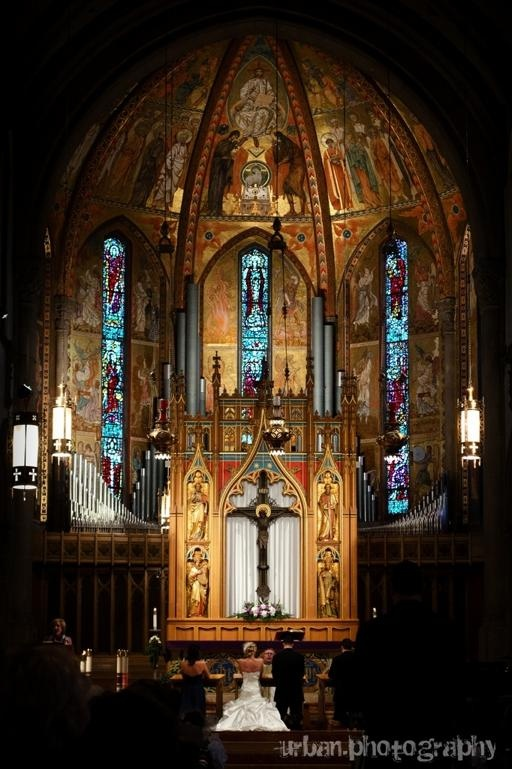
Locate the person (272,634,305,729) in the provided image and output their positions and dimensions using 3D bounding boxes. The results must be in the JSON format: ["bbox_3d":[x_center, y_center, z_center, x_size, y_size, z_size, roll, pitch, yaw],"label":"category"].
[{"bbox_3d":[0.396,3.684,15.919,0.366,0.959,0.508,0,-10,0],"label":"person"}]

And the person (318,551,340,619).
[{"bbox_3d":[1.141,3.089,20.395,0.355,1.021,0.113,-1,-10,3],"label":"person"}]

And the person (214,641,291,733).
[{"bbox_3d":[-0.040,3.791,16.090,0.872,1.134,0.959,0,-24,1],"label":"person"}]

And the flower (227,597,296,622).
[{"bbox_3d":[0.074,3.474,20.161,0.880,0.342,0.443,1,-11,-5],"label":"flower"}]
